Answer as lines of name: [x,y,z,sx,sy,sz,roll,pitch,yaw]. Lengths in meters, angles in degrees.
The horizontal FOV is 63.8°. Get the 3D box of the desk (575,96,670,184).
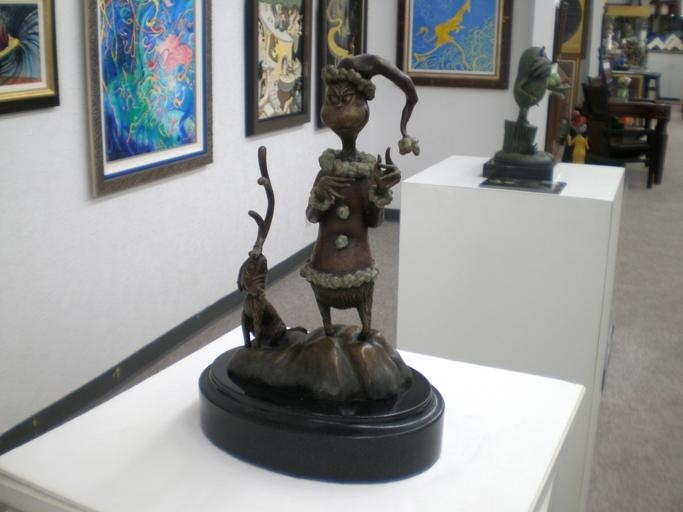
desk: [4.244,-1.789,8.299,1.237,1.847,1.244,4,17,21]
